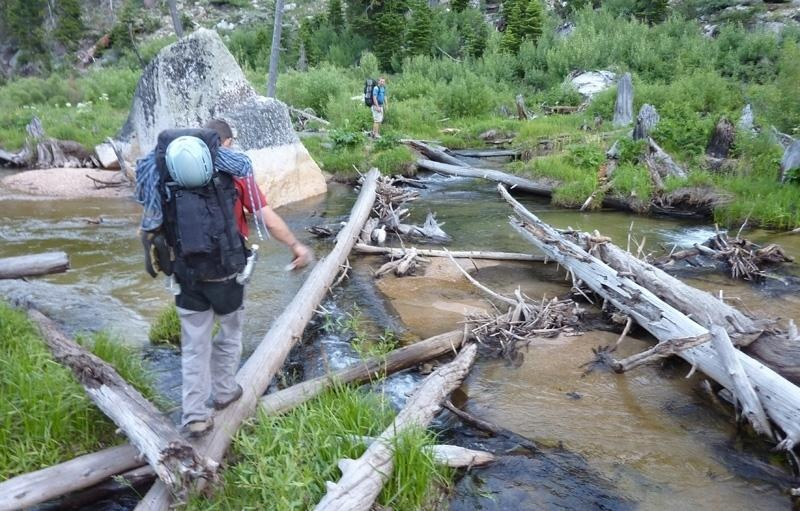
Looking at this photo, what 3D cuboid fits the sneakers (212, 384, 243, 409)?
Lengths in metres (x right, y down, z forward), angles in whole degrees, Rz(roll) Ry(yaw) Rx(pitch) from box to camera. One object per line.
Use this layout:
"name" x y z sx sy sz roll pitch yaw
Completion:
"sneakers" -2.371 1.998 8.405 0.170 0.193 0.470 24 39 28
